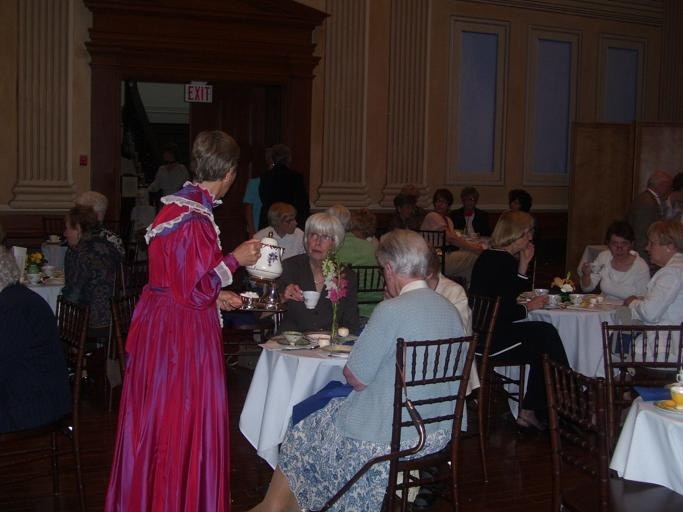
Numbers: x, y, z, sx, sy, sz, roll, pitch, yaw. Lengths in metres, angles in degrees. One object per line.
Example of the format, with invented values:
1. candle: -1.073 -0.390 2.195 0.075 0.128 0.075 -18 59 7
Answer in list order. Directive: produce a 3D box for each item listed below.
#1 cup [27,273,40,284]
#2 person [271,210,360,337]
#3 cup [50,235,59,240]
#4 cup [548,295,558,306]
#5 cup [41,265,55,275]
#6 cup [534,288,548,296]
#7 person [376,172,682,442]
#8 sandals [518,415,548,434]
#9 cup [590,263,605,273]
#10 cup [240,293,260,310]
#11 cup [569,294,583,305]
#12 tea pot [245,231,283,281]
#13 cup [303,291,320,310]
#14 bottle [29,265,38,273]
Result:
1. cup: -2.500 0.180 5.161 0.075 0.077 0.085 0 -7 -7
2. person: -0.146 0.212 3.917 0.517 0.963 0.513 1 21 -14
3. cup: -3.141 -0.209 6.975 0.068 0.058 0.056 -5 12 -28
4. cup: 1.619 0.329 4.867 0.069 0.075 0.076 -1 10 0
5. cup: -2.633 0.124 5.711 0.100 0.082 0.100 1 -7 0
6. cup: 1.623 0.287 5.147 0.069 0.064 0.077 3 -7 -15
7. person: 1.149 0.306 4.689 1.265 2.578 0.998 -6 4 -8
8. sandals: 1.366 1.213 4.560 0.236 0.098 0.100 12 34 -15
9. cup: 2.134 0.095 5.308 0.070 0.069 0.088 12 -16 20
10. cup: -0.464 0.229 3.209 0.071 0.059 0.081 1 -6 -7
11. cup: 1.827 0.328 4.946 0.072 0.066 0.075 2 4 0
12. tea pot: -0.367 -0.003 3.179 0.163 0.251 0.197 8 8 22
13. cup: -0.169 0.253 3.697 0.088 0.083 0.090 0 2 0
14. bottle: -2.545 0.098 5.257 0.068 0.076 0.074 1 3 -4
